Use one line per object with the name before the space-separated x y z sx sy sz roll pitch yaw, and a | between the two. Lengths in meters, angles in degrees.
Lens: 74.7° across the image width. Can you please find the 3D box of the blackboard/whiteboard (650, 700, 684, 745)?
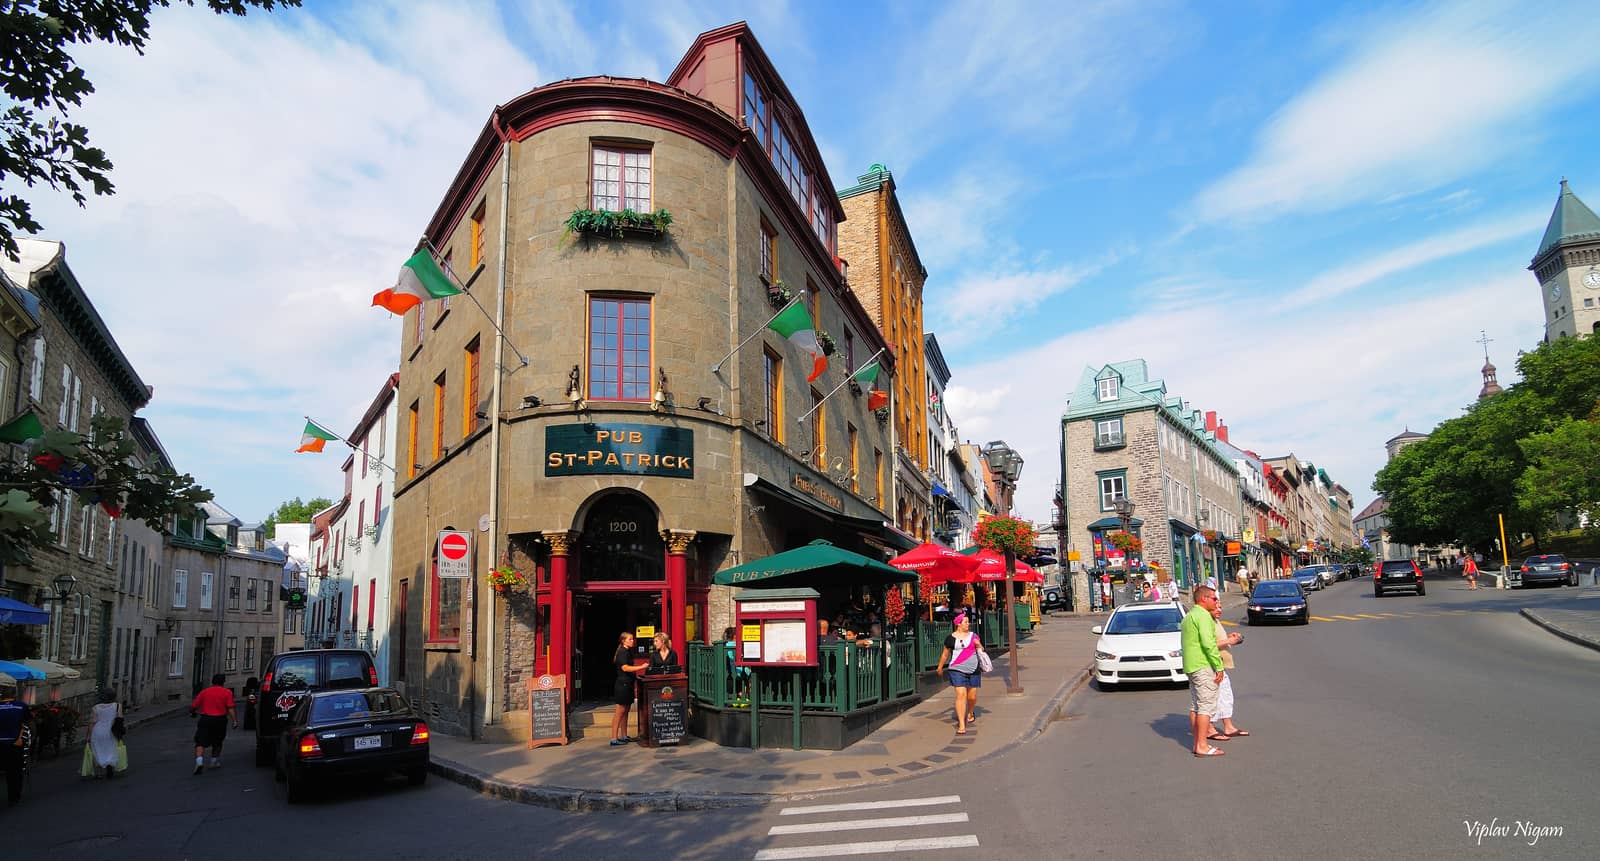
blackboard/whiteboard | -3.712 8.098 28.933 1.127 1.398 0.760 0 -12 -7

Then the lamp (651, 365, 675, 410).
lamp | -4.227 -1.224 32.316 0.695 1.361 0.486 -5 5 -17

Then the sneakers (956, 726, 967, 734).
sneakers | 4.350 8.029 28.092 0.280 0.113 0.332 -2 4 17

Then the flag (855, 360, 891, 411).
flag | 3.030 -1.812 44.684 0.942 1.782 1.587 -35 -24 -46

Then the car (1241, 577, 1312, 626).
car | 20.058 7.418 44.208 2.127 1.653 2.524 -2 5 22

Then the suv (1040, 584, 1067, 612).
suv | 17.471 11.667 72.336 1.297 0.937 2.073 -6 -17 12

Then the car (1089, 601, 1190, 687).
car | 10.300 6.745 31.733 2.345 2.243 2.411 -2 5 23

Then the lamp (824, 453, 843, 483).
lamp | 1.349 1.539 40.764 0.363 1.165 2.388 -2 5 18

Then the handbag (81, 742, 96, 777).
handbag | -20.640 9.617 30.475 0.386 1.056 0.271 1 7 42

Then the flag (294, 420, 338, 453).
flag | -13.087 0.225 28.431 1.141 0.993 0.191 3 -7 -32

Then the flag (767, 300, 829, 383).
flag | -0.151 -2.998 36.668 3.151 3.466 1.759 -2 10 -9

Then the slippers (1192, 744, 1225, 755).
slippers | 9.761 7.694 25.151 0.702 0.269 0.235 -4 -1 6

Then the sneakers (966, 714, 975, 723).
sneakers | 4.684 7.979 28.990 0.163 0.201 0.486 -10 -26 6

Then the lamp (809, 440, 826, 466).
lamp | 0.615 0.890 39.336 0.880 0.964 0.677 2 -13 -14

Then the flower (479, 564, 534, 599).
flower | -8.670 4.545 31.567 1.322 1.021 0.399 -5 5 -17

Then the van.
van | -14.694 8.020 31.320 2.711 2.129 4.453 2 -7 -26

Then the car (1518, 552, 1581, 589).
car | 39.253 7.457 54.900 2.697 1.542 1.940 -6 5 -30

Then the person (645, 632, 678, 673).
person | -3.804 6.335 29.808 1.038 1.566 0.927 -2 -8 -4
